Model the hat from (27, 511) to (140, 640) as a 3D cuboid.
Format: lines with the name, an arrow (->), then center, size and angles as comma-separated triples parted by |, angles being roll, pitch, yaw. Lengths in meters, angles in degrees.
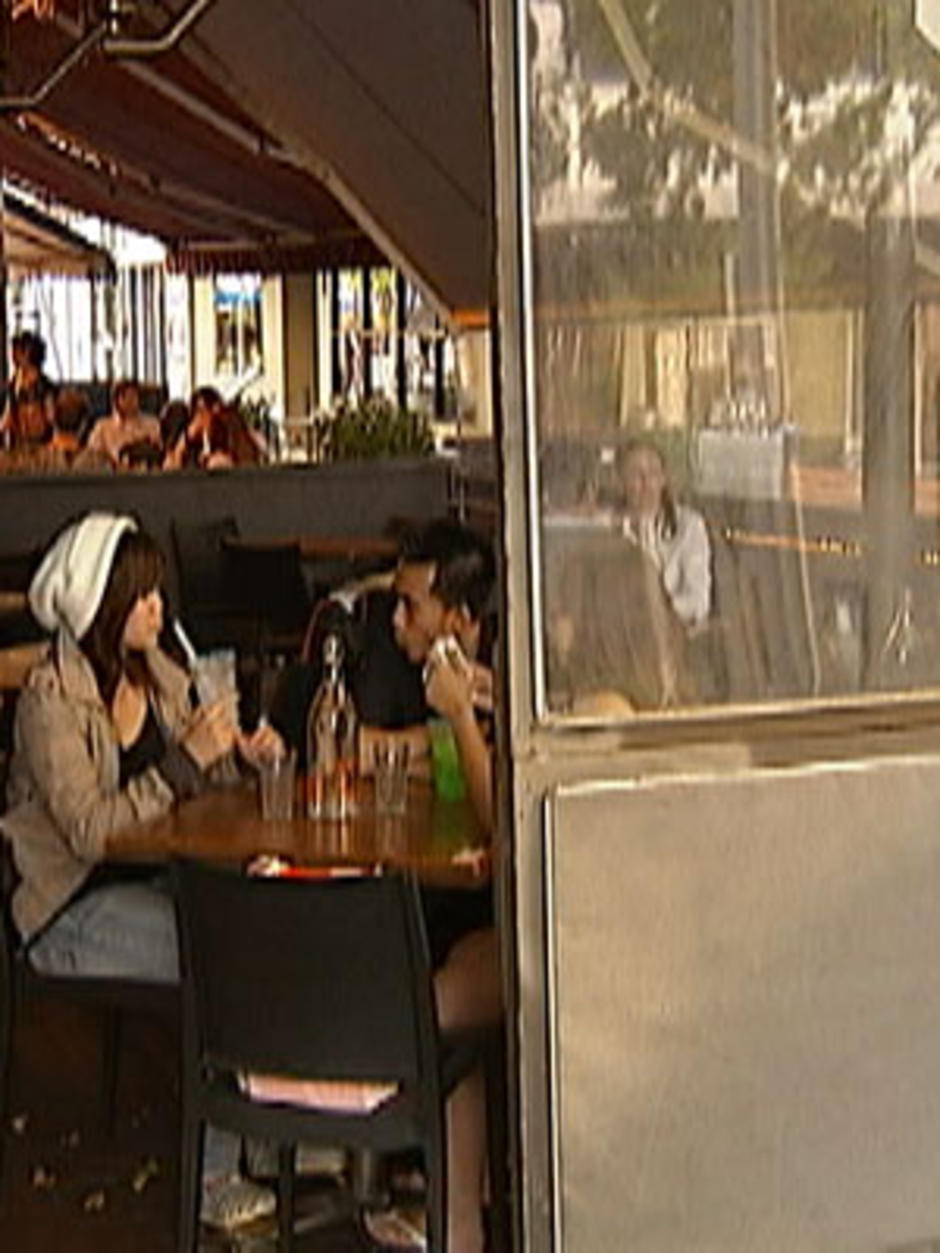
hat -> -0.477, -0.066, 1.977 | 0.090, 0.189, 0.065 | 8, 11, -23

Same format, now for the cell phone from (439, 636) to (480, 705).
cell phone -> -0.014, 0.053, 1.978 | 0.016, 0.080, 0.041 | -14, 7, -30
